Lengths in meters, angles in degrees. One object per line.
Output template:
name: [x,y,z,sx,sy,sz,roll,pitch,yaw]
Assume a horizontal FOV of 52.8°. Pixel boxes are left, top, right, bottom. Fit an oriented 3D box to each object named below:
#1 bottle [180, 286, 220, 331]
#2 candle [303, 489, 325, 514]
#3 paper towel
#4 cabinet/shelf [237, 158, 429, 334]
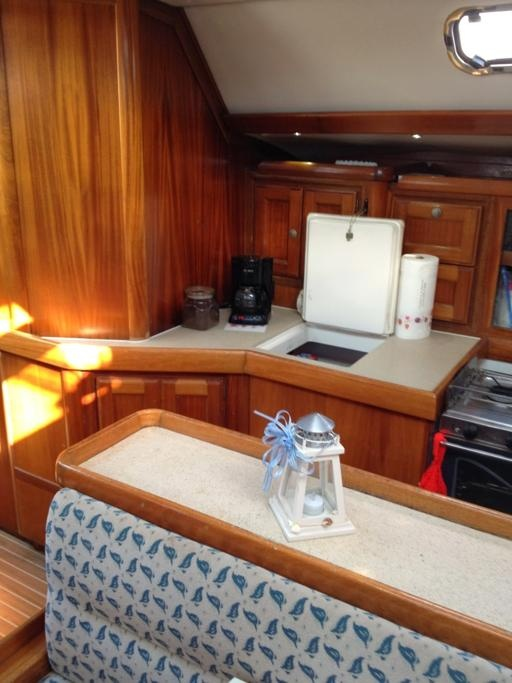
bottle: [-0.246,-0.143,2.227,0.150,0.174,0.132,5,13,10]
candle: [0.100,0.277,0.891,0.031,0.030,0.031,0,4,-3]
paper towel: [0.642,-0.166,2.082,0.140,0.338,0.125,6,13,14]
cabinet/shelf: [0.354,-0.414,2.240,0.671,0.634,0.283,17,26,39]
